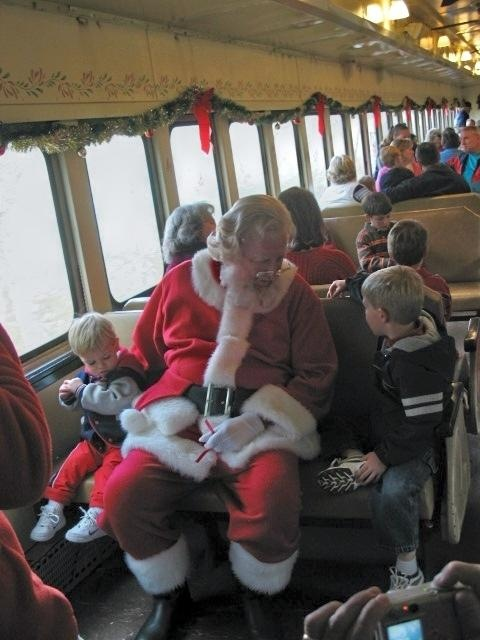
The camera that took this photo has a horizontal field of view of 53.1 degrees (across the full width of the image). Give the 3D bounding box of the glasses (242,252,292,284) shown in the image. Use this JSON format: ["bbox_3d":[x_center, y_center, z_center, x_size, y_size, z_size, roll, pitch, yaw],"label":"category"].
[{"bbox_3d":[0.107,-0.203,1.875,0.150,0.076,0.117,-7,3,40],"label":"glasses"}]

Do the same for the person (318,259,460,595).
[{"bbox_3d":[0.598,0.454,1.848,0.381,1.262,0.682,5,24,45],"label":"person"}]

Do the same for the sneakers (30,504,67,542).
[{"bbox_3d":[-0.863,0.895,2.143,0.113,0.109,0.193,1,10,13],"label":"sneakers"}]

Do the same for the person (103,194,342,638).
[{"bbox_3d":[-0.085,0.314,1.883,0.935,1.490,0.919,-9,17,11],"label":"person"}]

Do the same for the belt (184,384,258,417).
[{"bbox_3d":[-0.085,0.319,1.898,0.194,0.126,0.140,1,7,6],"label":"belt"}]

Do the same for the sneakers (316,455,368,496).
[{"bbox_3d":[0.371,0.577,1.801,0.242,0.082,0.105,-10,14,5],"label":"sneakers"}]
